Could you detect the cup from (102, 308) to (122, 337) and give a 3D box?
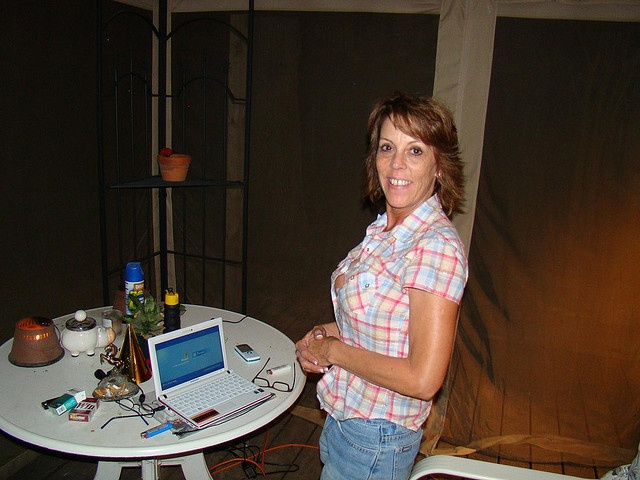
[{"bbox_3d":[-1.010,0.407,2.568,0.099,0.117,0.105,3,10,0],"label":"cup"}]

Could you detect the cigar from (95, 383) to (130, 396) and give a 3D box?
[{"bbox_3d":[-0.889,0.643,2.239,0.098,0.043,0.058,5,2,-9],"label":"cigar"}]

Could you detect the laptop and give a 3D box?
[{"bbox_3d":[-0.460,0.543,2.251,0.381,0.293,0.432,5,11,29],"label":"laptop"}]

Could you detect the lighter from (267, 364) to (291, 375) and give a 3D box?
[{"bbox_3d":[-0.188,0.598,2.472,0.078,0.019,0.043,-7,20,-34],"label":"lighter"}]

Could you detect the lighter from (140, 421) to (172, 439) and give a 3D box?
[{"bbox_3d":[-0.648,0.757,2.095,0.086,0.024,0.044,-12,12,-35],"label":"lighter"}]
